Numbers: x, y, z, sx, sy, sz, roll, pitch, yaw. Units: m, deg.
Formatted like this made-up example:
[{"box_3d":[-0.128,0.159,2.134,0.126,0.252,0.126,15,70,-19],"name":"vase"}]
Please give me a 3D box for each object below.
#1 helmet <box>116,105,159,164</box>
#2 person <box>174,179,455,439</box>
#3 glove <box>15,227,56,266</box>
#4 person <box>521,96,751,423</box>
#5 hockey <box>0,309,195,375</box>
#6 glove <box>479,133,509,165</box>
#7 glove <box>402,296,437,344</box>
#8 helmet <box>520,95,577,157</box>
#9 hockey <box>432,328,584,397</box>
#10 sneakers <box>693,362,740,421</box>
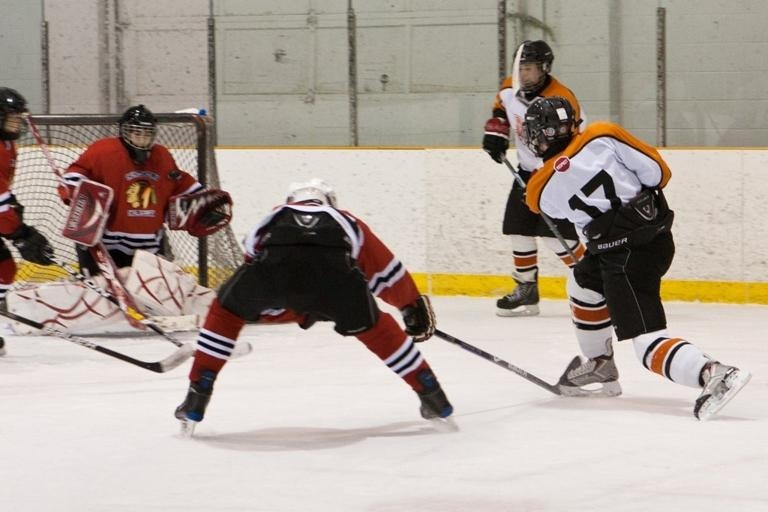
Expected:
[{"box_3d":[-1.629,-0.806,7.049,0.233,0.384,0.183,-1,8,-16],"name":"helmet"},{"box_3d":[-0.425,0.336,6.217,2.117,1.383,1.017,0,-40,4],"name":"person"},{"box_3d":[-2.210,-0.075,6.697,0.250,0.255,0.144,-1,8,-15],"name":"glove"},{"box_3d":[1.291,-0.017,5.635,1.223,1.651,0.379,5,9,28],"name":"person"},{"box_3d":[-1.603,0.496,6.224,1.517,0.294,0.030,12,-8,20],"name":"hockey"},{"box_3d":[0.786,-0.775,7.642,0.202,0.208,0.096,25,5,13],"name":"glove"},{"box_3d":[0.182,0.332,5.585,0.228,0.218,0.115,-18,6,20],"name":"glove"},{"box_3d":[0.857,-0.692,5.711,0.382,0.292,0.367,-9,11,-6],"name":"helmet"},{"box_3d":[0.736,0.648,6.390,0.900,0.078,0.108,21,24,-4],"name":"hockey"},{"box_3d":[1.687,0.687,5.396,0.229,0.323,0.206,1,7,-2],"name":"sneakers"}]
